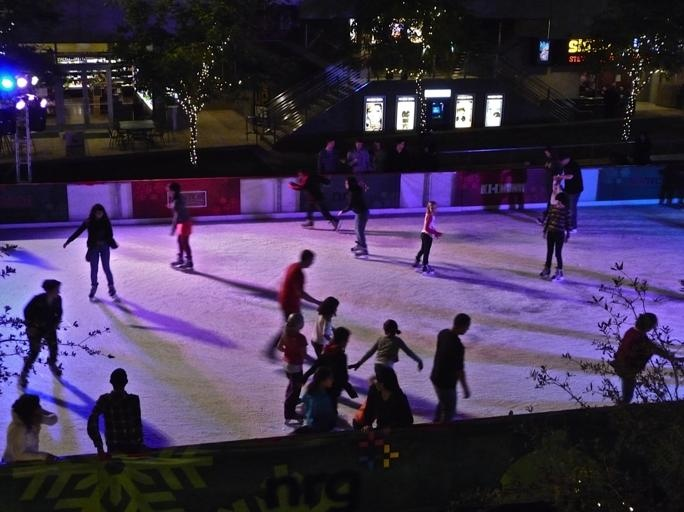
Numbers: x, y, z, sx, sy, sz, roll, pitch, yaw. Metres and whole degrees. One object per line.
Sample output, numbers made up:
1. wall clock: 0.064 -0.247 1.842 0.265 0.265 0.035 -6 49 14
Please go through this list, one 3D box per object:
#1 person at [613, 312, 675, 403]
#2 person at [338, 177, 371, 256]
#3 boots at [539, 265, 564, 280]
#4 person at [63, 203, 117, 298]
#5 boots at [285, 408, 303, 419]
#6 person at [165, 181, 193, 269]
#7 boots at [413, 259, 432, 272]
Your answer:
1. person: 3.785 1.323 8.138 0.481 1.187 0.252 7 13 25
2. person: 0.272 -0.991 16.717 1.017 2.432 1.306 -3 31 -1
3. boots: 4.767 0.397 14.319 0.293 0.237 0.363 0 4 -6
4. person: -5.046 -0.111 12.806 0.821 1.972 1.394 -3 12 -22
5. boots: -0.684 2.217 8.795 0.183 0.095 0.239 -1 1 -10
6. person: -3.676 -0.666 14.350 0.526 2.010 1.164 -1 12 -14
7. boots: 1.879 0.245 14.719 0.467 0.212 0.173 15 24 43
